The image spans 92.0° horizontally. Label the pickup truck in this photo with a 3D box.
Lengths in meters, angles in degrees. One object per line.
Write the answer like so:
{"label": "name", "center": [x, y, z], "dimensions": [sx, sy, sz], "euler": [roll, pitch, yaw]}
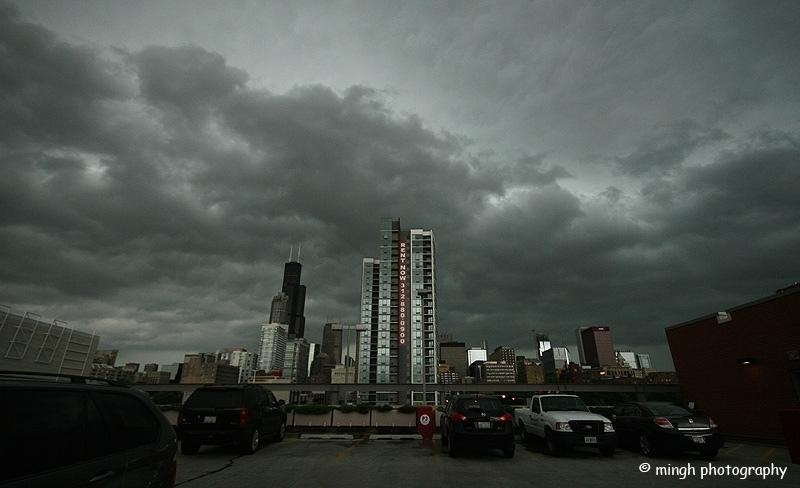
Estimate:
{"label": "pickup truck", "center": [6.192, 7.234, 15.858], "dimensions": [2.251, 2.061, 5.143], "euler": [2, -21, -8]}

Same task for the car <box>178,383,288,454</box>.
{"label": "car", "center": [-5.891, 6.581, 14.867], "dimensions": [2.751, 1.705, 4.500], "euler": [-5, -16, 9]}

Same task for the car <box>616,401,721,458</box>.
{"label": "car", "center": [9.516, 6.763, 14.108], "dimensions": [1.729, 1.769, 2.764], "euler": [6, -22, -19]}

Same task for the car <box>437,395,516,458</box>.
{"label": "car", "center": [2.829, 6.694, 15.190], "dimensions": [2.323, 1.669, 4.414], "euler": [1, -12, 2]}
